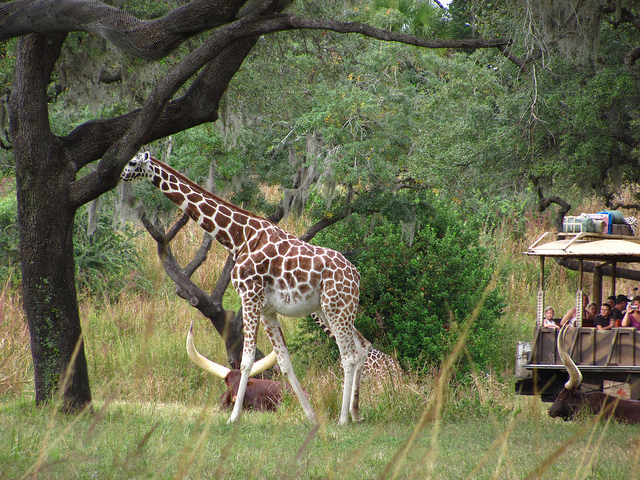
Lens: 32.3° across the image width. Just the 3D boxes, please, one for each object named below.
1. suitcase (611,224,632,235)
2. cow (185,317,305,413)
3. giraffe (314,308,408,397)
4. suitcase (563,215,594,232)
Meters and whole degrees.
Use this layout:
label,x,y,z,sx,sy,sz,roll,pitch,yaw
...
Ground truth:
label,x,y,z,sx,sy,sz,roll,pitch,yaw
suitcase,6.279,-0.227,23.161,0.132,0.215,0.983,4,4,33
cow,-1.441,2.683,20.204,2.293,1.885,2.090,2,-4,15
giraffe,1.117,2.584,21.532,1.385,1.865,1.476,3,-3,-39
suitcase,5.253,-0.321,22.751,0.366,0.320,0.675,0,4,-36
